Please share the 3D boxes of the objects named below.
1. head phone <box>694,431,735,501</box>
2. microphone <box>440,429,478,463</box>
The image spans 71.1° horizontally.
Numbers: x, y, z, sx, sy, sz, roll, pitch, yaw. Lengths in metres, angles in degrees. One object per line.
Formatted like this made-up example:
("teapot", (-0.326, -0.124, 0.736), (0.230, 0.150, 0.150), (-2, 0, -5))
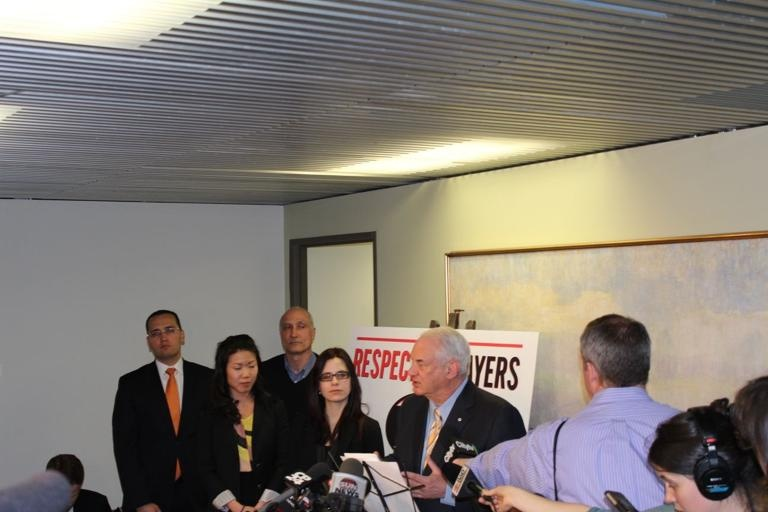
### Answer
("head phone", (1.008, 0.634, 1.646), (0.095, 0.191, 0.215), (-8, -20, 27))
("microphone", (0.423, 1.066, 2.994), (0.168, 0.152, 0.089), (17, -13, -31))
